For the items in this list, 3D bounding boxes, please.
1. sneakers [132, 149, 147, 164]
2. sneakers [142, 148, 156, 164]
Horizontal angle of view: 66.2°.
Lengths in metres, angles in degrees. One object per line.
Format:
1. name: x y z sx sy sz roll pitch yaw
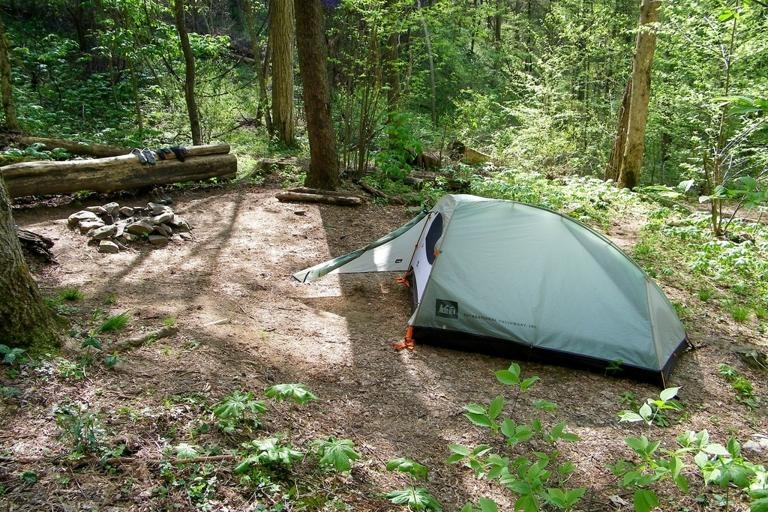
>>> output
1. sneakers: -5.011 -2.086 12.004 0.191 0.122 0.450 -4 44 -34
2. sneakers: -4.860 -2.105 12.106 0.173 0.122 0.432 -28 63 -30
